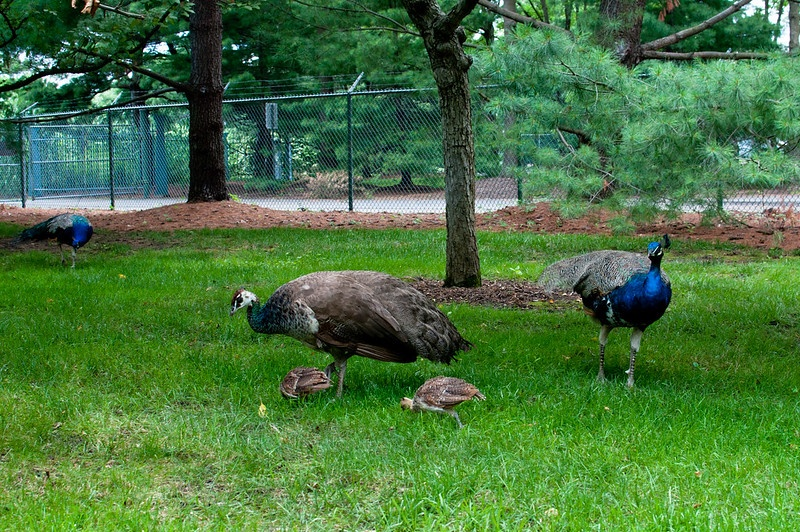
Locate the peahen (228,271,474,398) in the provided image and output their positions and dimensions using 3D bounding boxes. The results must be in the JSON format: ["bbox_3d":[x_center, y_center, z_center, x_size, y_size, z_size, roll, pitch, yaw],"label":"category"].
[{"bbox_3d":[-0.796,0.956,16.210,3.505,1.796,1.569,-1,9,-1],"label":"peahen"}]

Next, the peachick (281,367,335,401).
[{"bbox_3d":[-1.338,1.706,15.684,0.637,0.391,0.414,-7,2,23],"label":"peachick"}]

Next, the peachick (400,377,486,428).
[{"bbox_3d":[0.551,1.894,15.235,1.137,0.641,0.284,2,14,9],"label":"peachick"}]

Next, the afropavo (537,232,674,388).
[{"bbox_3d":[3.264,0.678,16.706,1.834,2.249,3.475,2,-1,4],"label":"afropavo"}]
